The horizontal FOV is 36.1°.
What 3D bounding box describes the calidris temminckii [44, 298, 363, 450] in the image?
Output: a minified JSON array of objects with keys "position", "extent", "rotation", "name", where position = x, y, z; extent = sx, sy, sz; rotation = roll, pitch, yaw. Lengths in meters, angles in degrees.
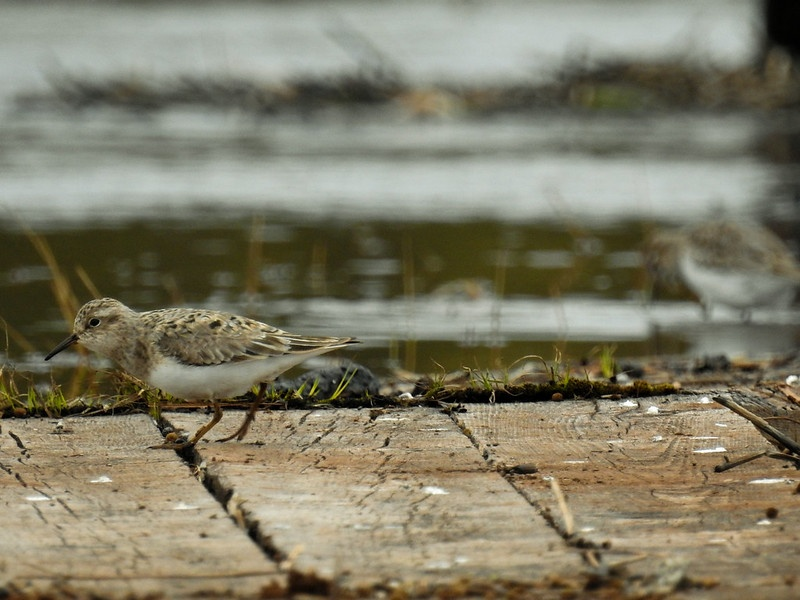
[{"position":[-1.136,0.394,7.562],"extent":[1.830,0.708,0.520],"rotation":[0,2,-15],"name":"calidris temminckii"}]
